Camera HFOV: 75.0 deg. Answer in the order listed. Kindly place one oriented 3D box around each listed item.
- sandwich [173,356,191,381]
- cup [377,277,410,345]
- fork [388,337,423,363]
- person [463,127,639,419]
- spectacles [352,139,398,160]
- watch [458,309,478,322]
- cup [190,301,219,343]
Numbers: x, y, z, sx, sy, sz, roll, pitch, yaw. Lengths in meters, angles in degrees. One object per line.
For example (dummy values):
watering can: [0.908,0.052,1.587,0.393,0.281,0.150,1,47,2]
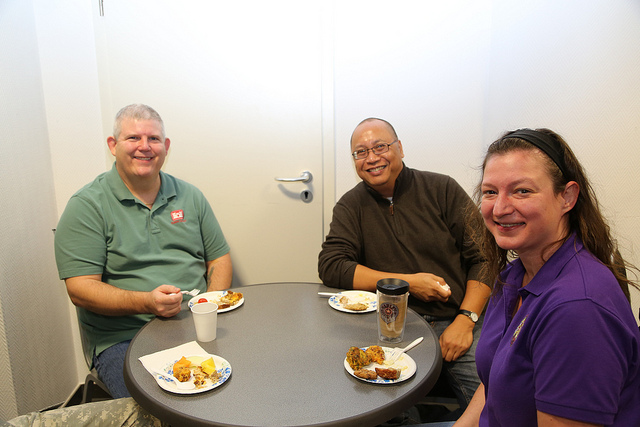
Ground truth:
sandwich: [-0.494,0.558,1.506,0.062,0.024,0.063,12,30,32]
cup: [0.297,0.413,1.712,0.135,0.229,0.135,2,3,0]
fork: [0.333,0.496,1.622,0.046,0.039,0.274,13,15,26]
person: [0.736,0.268,1.337,0.494,1.047,0.455,2,16,21]
spectacles: [0.306,-0.354,2.332,0.247,0.087,0.099,-3,14,4]
watch: [0.736,0.502,2.074,0.078,0.084,0.047,-16,40,36]
cup: [-0.461,0.429,1.746,0.148,0.147,0.141,-2,11,0]
